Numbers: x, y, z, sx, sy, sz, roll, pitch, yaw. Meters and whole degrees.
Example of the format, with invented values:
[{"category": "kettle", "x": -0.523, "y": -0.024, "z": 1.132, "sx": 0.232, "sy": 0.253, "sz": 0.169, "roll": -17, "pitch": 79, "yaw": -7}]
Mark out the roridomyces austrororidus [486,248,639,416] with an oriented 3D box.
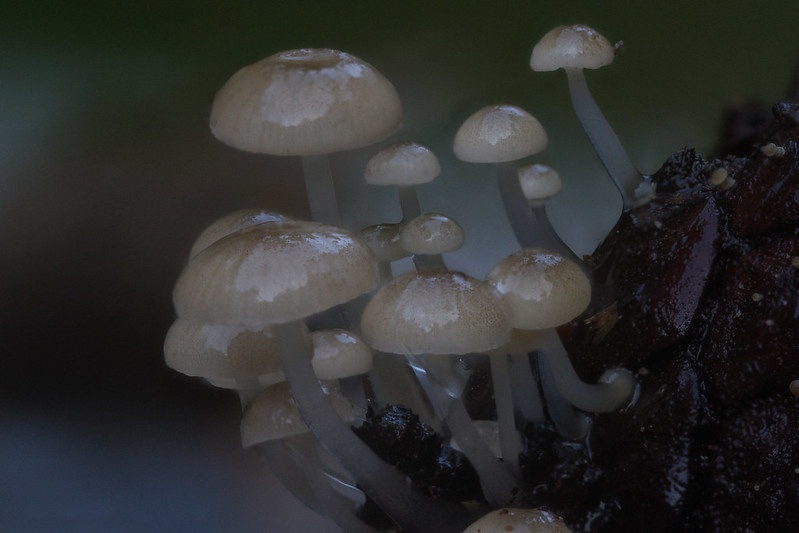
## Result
[{"category": "roridomyces austrororidus", "x": 0.279, "y": 0.113, "z": 1.634, "sx": 0.195, "sy": 0.304, "sz": 0.115, "roll": -16, "pitch": 12, "yaw": 5}]
